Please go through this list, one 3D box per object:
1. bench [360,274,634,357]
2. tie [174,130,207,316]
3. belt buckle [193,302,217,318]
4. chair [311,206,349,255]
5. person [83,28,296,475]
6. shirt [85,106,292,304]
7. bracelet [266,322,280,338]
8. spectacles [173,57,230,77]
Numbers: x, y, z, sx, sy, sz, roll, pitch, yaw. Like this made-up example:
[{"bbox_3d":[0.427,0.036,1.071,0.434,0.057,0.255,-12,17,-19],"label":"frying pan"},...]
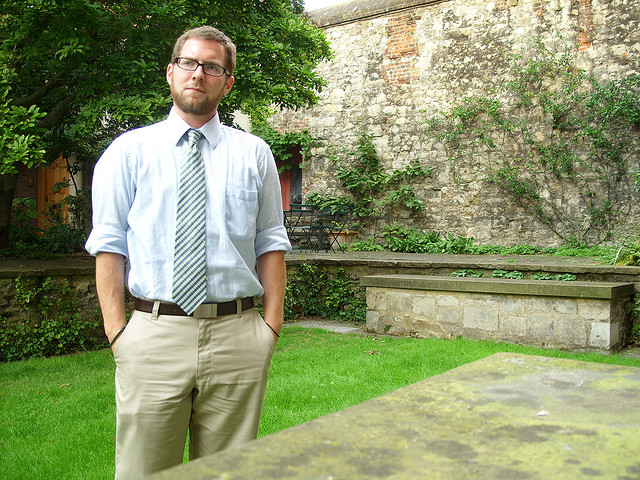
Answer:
[{"bbox_3d":[1.562,0.719,4.989,2.286,0.730,0.195,3,4,32],"label":"bench"},{"bbox_3d":[-0.478,-0.079,1.886,0.109,0.682,0.211,1,4,-13],"label":"tie"},{"bbox_3d":[-0.417,0.253,1.826,0.065,0.030,0.060,1,-1,-14],"label":"belt buckle"},{"bbox_3d":[0.213,-0.161,10.137,0.748,0.881,0.687,-19,12,-9],"label":"chair"},{"bbox_3d":[-0.461,-0.008,1.938,0.784,1.676,0.421,0,4,-23],"label":"person"},{"bbox_3d":[-0.510,-0.144,2.031,0.816,0.671,0.408,1,9,-14],"label":"shirt"},{"bbox_3d":[-0.185,0.352,1.986,0.014,0.048,0.051,-44,10,-9],"label":"bracelet"},{"bbox_3d":[-0.458,-0.673,1.982,0.207,0.072,0.055,1,3,-12],"label":"spectacles"}]
